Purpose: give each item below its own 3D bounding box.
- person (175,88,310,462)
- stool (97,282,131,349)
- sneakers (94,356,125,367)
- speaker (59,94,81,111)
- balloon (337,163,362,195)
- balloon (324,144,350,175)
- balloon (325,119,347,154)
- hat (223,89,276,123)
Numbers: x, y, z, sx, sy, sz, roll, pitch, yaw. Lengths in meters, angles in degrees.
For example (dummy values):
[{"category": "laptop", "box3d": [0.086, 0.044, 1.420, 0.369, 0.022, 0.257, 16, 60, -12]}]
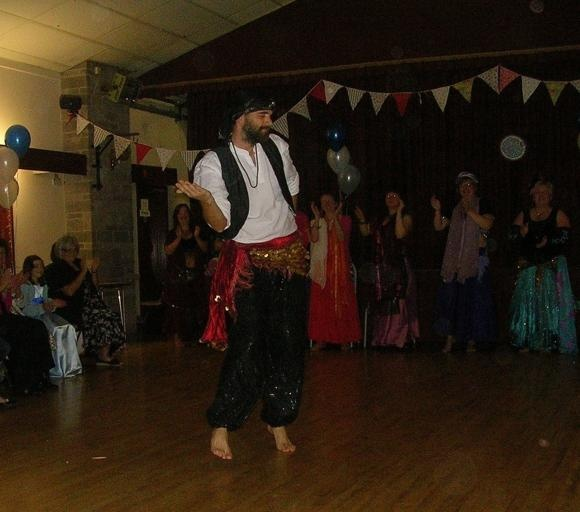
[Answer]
[{"category": "person", "box3d": [-0.166, 0.094, 2.176, 0.534, 1.565, 0.394, 1, -4, -26]}, {"category": "stool", "box3d": [-2.452, 0.756, 6.728, 0.435, 0.736, 0.484, -3, 0, -3]}, {"category": "sneakers", "box3d": [-1.863, 1.097, 5.035, 0.291, 0.105, 0.116, 0, -2, 2]}, {"category": "speaker", "box3d": [-3.113, -2.148, 6.906, 0.322, 0.264, 0.192, 0, 9, -7]}, {"category": "balloon", "box3d": [0.663, -0.853, 5.718, 0.266, 0.415, 0.311, 4, -6, -5]}, {"category": "balloon", "box3d": [0.547, -1.109, 5.683, 0.252, 0.394, 0.293, 1, 0, -5]}, {"category": "balloon", "box3d": [0.517, -1.340, 5.513, 0.212, 0.337, 0.276, -2, -4, 5]}, {"category": "hat", "box3d": [-0.165, -0.658, 2.154, 0.134, 0.105, 0.128, -1, 16, 5]}]
